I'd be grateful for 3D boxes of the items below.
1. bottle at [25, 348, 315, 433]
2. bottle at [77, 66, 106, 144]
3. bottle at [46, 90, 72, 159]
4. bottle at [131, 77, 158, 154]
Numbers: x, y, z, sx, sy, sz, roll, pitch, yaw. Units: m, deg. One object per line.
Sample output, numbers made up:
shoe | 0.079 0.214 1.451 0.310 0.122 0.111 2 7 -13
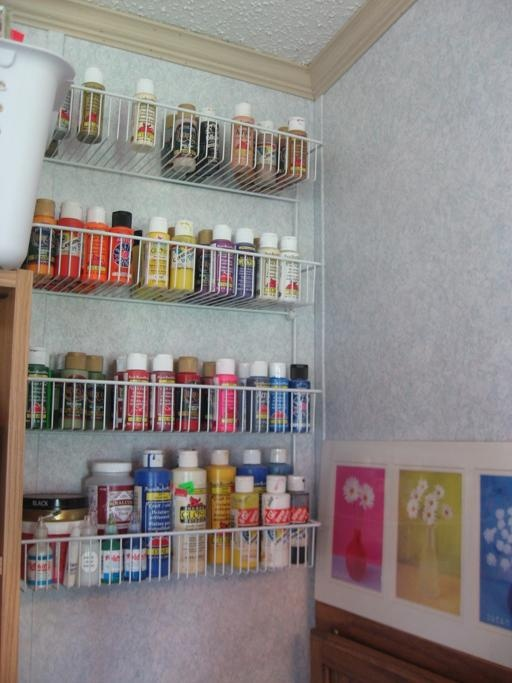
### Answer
bottle | -0.143 0.104 1.187 0.592 0.166 0.177 2 -4 -29
bottle | -0.309 -0.448 1.144 0.045 0.155 0.137 1 -4 -17
bottle | -0.363 -0.402 1.126 0.031 0.082 0.183 2 -4 -25
bottle | -0.212 -0.430 1.153 0.045 0.136 0.063 1 -4 -12
